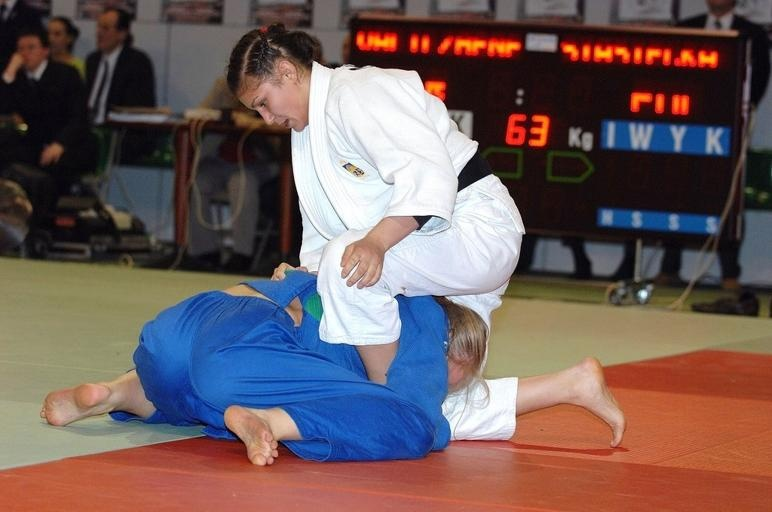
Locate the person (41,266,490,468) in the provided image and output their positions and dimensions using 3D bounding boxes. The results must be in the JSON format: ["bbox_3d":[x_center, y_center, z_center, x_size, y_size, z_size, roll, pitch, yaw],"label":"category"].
[{"bbox_3d":[-0.172,0.236,2.450,0.853,0.307,0.641,5,0,-40],"label":"person"}]

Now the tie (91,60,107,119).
[{"bbox_3d":[-2.217,-1.323,6.398,0.062,0.561,0.062,6,-15,8],"label":"tie"}]

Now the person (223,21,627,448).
[{"bbox_3d":[0.115,-0.053,2.690,1.299,1.440,0.784,-2,-3,-3],"label":"person"}]
